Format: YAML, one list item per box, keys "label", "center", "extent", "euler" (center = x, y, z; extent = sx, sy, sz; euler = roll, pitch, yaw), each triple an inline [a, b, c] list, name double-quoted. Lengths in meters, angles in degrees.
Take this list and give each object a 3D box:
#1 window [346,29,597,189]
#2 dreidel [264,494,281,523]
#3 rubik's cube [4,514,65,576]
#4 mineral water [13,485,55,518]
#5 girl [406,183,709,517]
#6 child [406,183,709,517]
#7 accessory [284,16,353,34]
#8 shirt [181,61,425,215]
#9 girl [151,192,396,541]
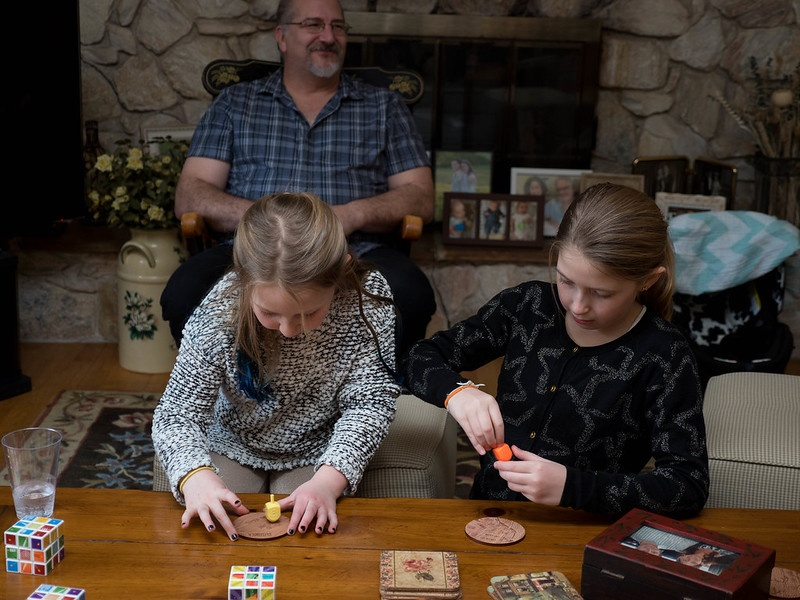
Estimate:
- label: "window"
  center: [0.341, -0.986, 3.529]
  extent: [1.309, 0.811, 0.060]
  euler: [-2, 17, -9]
- label: "dreidel"
  center: [-0.248, 0.404, 1.343]
  extent: [0.034, 0.059, 0.035]
  euler: [1, 5, -18]
- label: "rubik's cube"
  center: [-0.633, 0.425, 1.232]
  extent: [0.090, 0.089, 0.089]
  euler: [3, 11, 7]
- label: "mineral water"
  center: [-0.694, 0.378, 1.313]
  extent: [0.084, 0.065, 0.086]
  euler: [6, 1, -23]
- label: "girl"
  center: [0.325, 0.077, 1.491]
  extent: [0.608, 0.651, 0.441]
  euler: [2, 13, -1]
- label: "child"
  center: [0.325, 0.077, 1.491]
  extent: [0.608, 0.651, 0.441]
  euler: [2, 13, -1]
- label: "accessory"
  center: [-0.329, -1.063, 2.678]
  extent: [0.250, 0.061, 0.095]
  euler: [0, 12, -9]
- label: "shirt"
  center: [-0.360, -0.600, 2.806]
  extent: [1.043, 0.654, 0.464]
  euler: [-2, 21, -12]
- label: "girl"
  center: [-0.273, 0.194, 1.568]
  extent: [0.477, 0.795, 0.671]
  euler: [10, 30, 3]
